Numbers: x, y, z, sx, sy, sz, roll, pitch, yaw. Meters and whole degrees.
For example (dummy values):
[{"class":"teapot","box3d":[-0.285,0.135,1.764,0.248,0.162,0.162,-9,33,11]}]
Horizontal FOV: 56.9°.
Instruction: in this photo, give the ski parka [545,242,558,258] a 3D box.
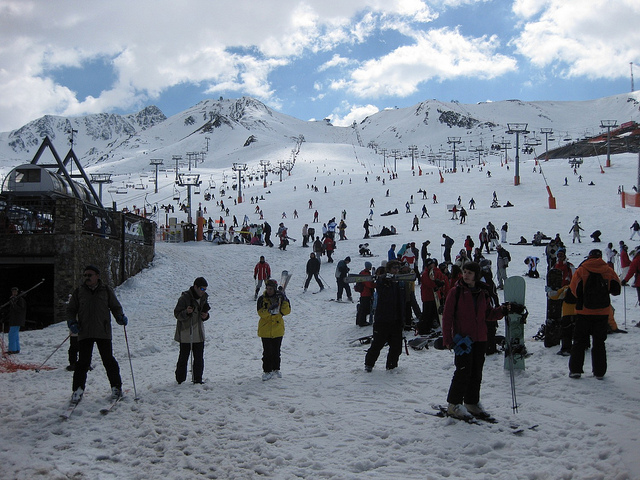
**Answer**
[{"class":"ski parka","box3d":[7.689,0.348,19.697,0.254,0.479,0.476,-1,-34,33]}]

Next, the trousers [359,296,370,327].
[{"class":"trousers","box3d":[1.302,2.153,17.629,0.293,0.837,0.345,0,8,13]}]

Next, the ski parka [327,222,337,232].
[{"class":"ski parka","box3d":[0.704,-0.744,34.802,0.500,0.529,0.415,-7,3,-12]}]

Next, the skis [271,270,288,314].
[{"class":"skis","box3d":[-1.078,1.395,15.814,0.155,1.315,0.181,16,-26,-3]}]

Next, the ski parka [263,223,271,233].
[{"class":"ski parka","box3d":[-3.220,-0.705,35.884,0.345,0.501,0.976,-3,8,-7]}]

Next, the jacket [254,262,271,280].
[{"class":"jacket","box3d":[-2.283,1.233,23.292,0.747,0.802,0.421,-2,-17,5]}]

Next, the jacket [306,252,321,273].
[{"class":"jacket","box3d":[-0.271,0.894,23.762,0.485,0.896,1.039,-3,8,-8]}]

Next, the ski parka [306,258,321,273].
[{"class":"ski parka","box3d":[-0.300,1.048,23.927,0.737,0.892,0.475,0,-3,-1]}]

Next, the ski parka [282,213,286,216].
[{"class":"ski parka","box3d":[-3.086,-2.171,49.896,0.324,0.134,0.338,1,4,6]}]

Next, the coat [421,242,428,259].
[{"class":"coat","box3d":[4.406,0.372,25.045,0.219,0.665,1.041,0,8,12]}]

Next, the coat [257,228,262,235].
[{"class":"coat","box3d":[-3.728,-0.543,36.274,0.155,0.402,0.624,0,8,15]}]

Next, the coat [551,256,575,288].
[{"class":"coat","box3d":[5.809,0.791,14.234,0.292,0.695,0.598,-3,7,-26]}]

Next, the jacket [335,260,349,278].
[{"class":"jacket","box3d":[0.711,1.040,21.366,0.488,0.781,0.588,-6,8,-22]}]

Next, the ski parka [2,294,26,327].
[{"class":"ski parka","box3d":[-8.034,1.906,15.626,0.480,0.754,0.497,-6,9,-30]}]

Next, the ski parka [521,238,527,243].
[{"class":"ski parka","box3d":[10.456,0.031,30.435,0.271,0.219,0.428,2,9,26]}]

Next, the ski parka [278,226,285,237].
[{"class":"ski parka","box3d":[-2.358,-0.486,34.483,0.369,0.722,0.484,2,2,38]}]

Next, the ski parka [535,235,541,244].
[{"class":"ski parka","box3d":[10.948,-0.038,29.829,0.271,0.372,0.651,1,8,20]}]

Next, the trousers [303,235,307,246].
[{"class":"trousers","box3d":[-0.911,0.053,34.542,0.240,0.575,0.348,1,8,21]}]

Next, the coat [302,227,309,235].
[{"class":"coat","box3d":[-0.893,-0.532,35.044,0.334,0.591,0.430,-12,14,-42]}]

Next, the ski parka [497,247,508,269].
[{"class":"ski parka","box3d":[6.477,0.697,21.070,0.343,0.680,0.685,0,8,17]}]

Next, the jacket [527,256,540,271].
[{"class":"jacket","box3d":[8.328,0.950,23.171,0.218,0.535,0.531,-6,4,-15]}]

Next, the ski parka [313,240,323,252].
[{"class":"ski parka","box3d":[-0.084,0.293,28.950,0.497,0.897,0.473,3,7,17]}]

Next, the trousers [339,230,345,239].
[{"class":"trousers","box3d":[1.300,-0.339,35.900,0.289,0.263,0.769,18,-13,18]}]

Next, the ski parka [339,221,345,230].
[{"class":"ski parka","box3d":[1.294,-0.857,35.804,0.216,0.446,0.336,0,8,16]}]

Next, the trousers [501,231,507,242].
[{"class":"trousers","box3d":[9.611,-0.167,31.099,0.226,0.632,0.701,0,8,17]}]

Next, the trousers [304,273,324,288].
[{"class":"trousers","box3d":[-0.273,1.716,24.781,0.617,0.625,0.277,0,1,-11]}]

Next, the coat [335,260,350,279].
[{"class":"coat","box3d":[0.758,1.067,21.387,0.512,0.629,0.498,-4,3,-8]}]

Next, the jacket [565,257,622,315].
[{"class":"jacket","box3d":[5.687,0.971,12.336,1.150,1.180,0.930,2,1,1]}]

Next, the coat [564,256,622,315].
[{"class":"coat","box3d":[5.925,0.892,12.172,0.755,1.063,1.061,-12,6,-22]}]

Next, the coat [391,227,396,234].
[{"class":"coat","box3d":[4.484,-0.602,36.332,0.193,0.350,0.854,0,8,15]}]

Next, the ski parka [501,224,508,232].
[{"class":"ski parka","box3d":[9.857,-0.627,31.722,0.261,0.262,0.468,20,32,11]}]

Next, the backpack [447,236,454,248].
[{"class":"backpack","box3d":[5.813,0.095,26.691,0.406,0.436,0.318,-8,-4,39]}]

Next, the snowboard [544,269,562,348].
[{"class":"snowboard","box3d":[5.432,1.699,13.790,0.415,1.961,0.284,4,10,22]}]

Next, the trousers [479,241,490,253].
[{"class":"trousers","box3d":[7.710,0.348,27.827,0.468,0.821,0.201,-6,-7,35]}]

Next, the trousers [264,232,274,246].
[{"class":"trousers","box3d":[-3.158,-0.116,36.044,0.443,0.807,1.155,-3,8,-5]}]

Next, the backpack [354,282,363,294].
[{"class":"backpack","box3d":[1.184,1.436,17.881,0.139,0.421,0.289,-1,2,-44]}]

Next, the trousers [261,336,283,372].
[{"class":"trousers","box3d":[-1.111,2.537,13.551,0.480,1.141,0.337,0,25,-11]}]
